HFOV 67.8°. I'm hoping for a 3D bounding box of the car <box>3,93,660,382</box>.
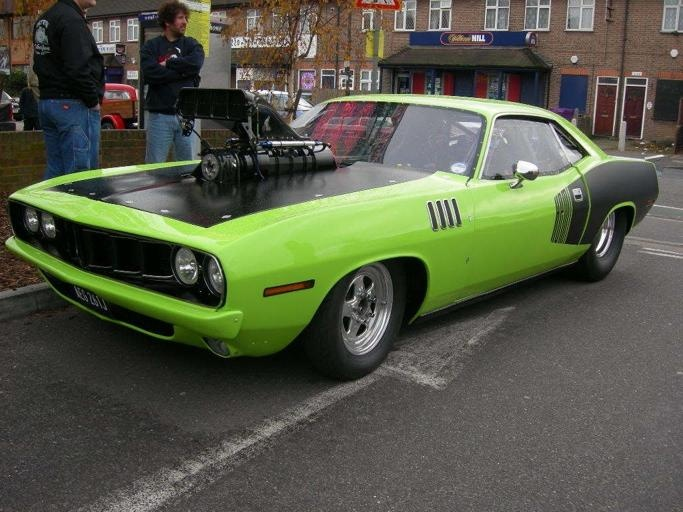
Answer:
[{"bbox_3d":[0.158,-0.385,4.183,4.798,1.879,1.876,-11,18,-36],"label":"car"}]
